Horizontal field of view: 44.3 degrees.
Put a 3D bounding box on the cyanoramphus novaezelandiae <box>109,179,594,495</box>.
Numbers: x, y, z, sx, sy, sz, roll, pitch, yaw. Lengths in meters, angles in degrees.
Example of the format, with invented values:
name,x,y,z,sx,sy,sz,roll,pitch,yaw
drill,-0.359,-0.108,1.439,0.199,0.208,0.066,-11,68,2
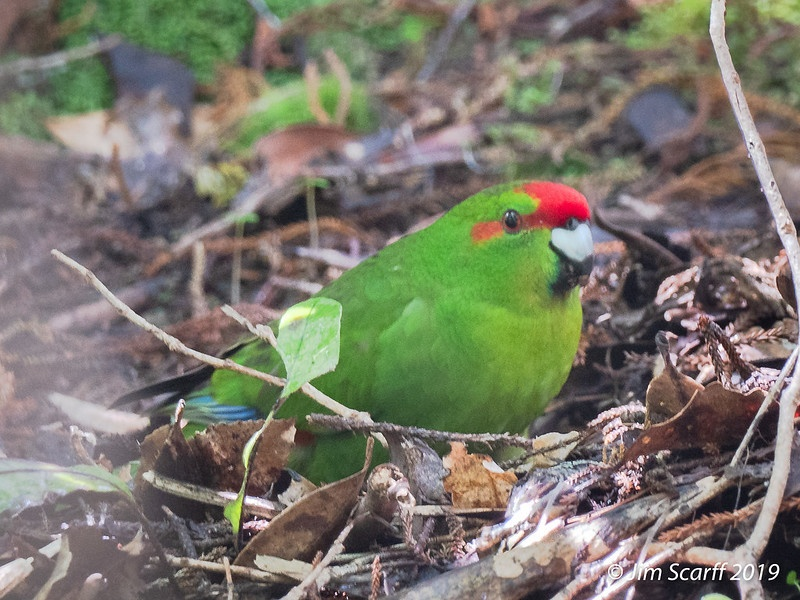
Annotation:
name,x,y,z,sx,sy,sz,roll,pitch,yaw
cyanoramphus novaezelandiae,-0.073,0.011,1.895,0.937,0.568,0.523,14,21,35
